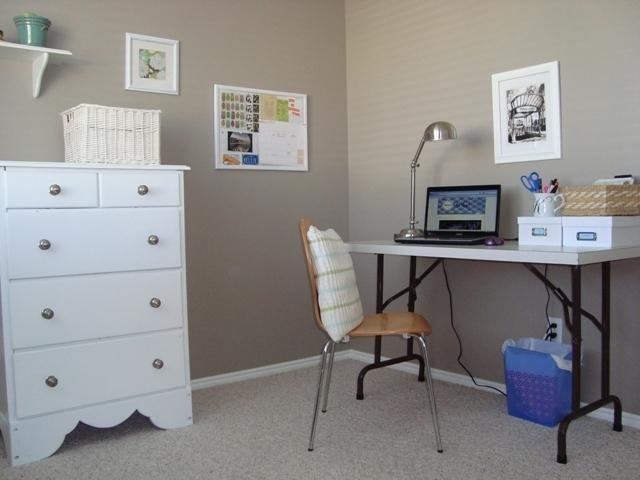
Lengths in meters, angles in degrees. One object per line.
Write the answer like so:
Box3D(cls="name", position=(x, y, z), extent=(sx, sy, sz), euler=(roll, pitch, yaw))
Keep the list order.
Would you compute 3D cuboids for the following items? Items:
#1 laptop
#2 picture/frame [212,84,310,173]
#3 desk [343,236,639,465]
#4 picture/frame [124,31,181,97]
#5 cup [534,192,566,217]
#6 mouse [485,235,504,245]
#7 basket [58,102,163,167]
Box3D(cls="laptop", position=(0.743, -0.120, 2.711), extent=(0.494, 0.378, 0.340), euler=(4, -1, 40))
Box3D(cls="picture/frame", position=(-0.411, -0.731, 3.199), extent=(0.626, 0.518, 0.025), euler=(1, -3, -30))
Box3D(cls="desk", position=(0.939, 0.590, 2.554), extent=(0.402, 0.680, 0.978), euler=(-1, 1, -43))
Box3D(cls="picture/frame", position=(-1.001, -1.037, 2.872), extent=(0.410, 0.432, 0.033), euler=(1, -3, -32))
Box3D(cls="cup", position=(1.121, -0.175, 2.368), extent=(0.136, 0.105, 0.095), euler=(1, 1, 27))
Box3D(cls="mouse", position=(0.887, -0.001, 2.446), extent=(0.068, 0.032, 0.052), euler=(-2, 4, 0))
Box3D(cls="basket", position=(-1.010, -0.455, 2.450), extent=(0.360, 0.248, 0.371), euler=(4, 5, 39))
